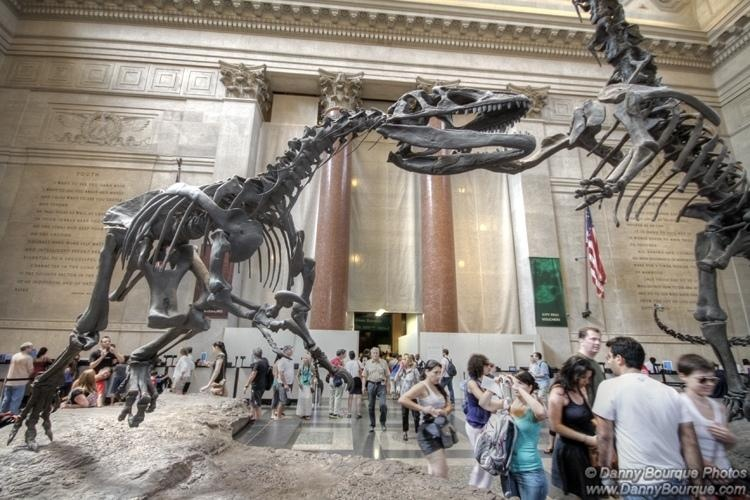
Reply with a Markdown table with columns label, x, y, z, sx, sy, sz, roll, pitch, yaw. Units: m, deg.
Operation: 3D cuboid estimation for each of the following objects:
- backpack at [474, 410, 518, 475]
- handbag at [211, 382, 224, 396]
| label | x | y | z | sx | sy | sz | roll | pitch | yaw |
| --- | --- | --- | --- | --- | --- | --- | --- | --- | --- |
| backpack | 1.376 | 2.151 | 4.647 | 0.505 | 0.640 | 0.249 | -1 | -11 | 44 |
| handbag | -3.287 | 3.002 | 8.868 | 0.282 | 0.267 | 0.269 | 2 | -3 | -44 |
